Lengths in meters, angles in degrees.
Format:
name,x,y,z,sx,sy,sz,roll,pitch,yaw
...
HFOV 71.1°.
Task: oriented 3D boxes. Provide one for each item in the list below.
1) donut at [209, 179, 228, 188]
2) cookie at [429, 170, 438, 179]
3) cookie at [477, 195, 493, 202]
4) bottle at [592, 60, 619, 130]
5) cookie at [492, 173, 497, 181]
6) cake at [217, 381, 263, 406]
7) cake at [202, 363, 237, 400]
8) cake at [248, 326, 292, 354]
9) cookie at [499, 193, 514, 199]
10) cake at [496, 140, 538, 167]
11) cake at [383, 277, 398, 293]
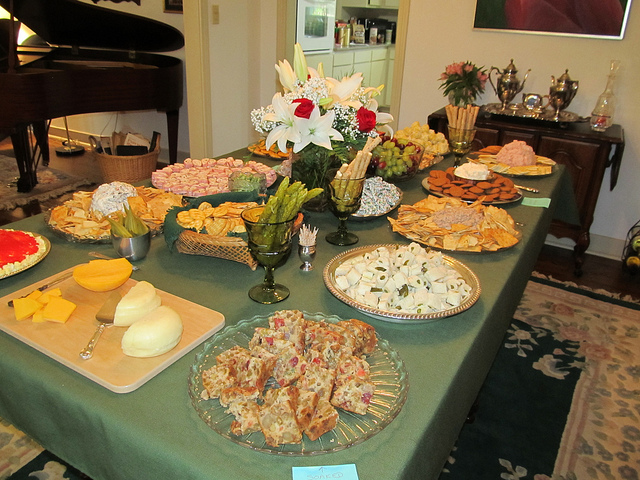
name,x,y,z,sx,sy,sz,roll,pitch,yaw
donut,-0.429,-0.239,1.910,0.056,0.012,0.051,6,18,10
cookie,0.551,-0.317,2.186,0.045,0.013,0.042,6,21,23
cookie,0.742,-0.180,1.994,0.042,0.009,0.039,3,20,15
bottle,2.194,-1.101,3.400,0.149,0.492,0.146,-2,26,1
cookie,0.850,-0.304,2.182,0.033,0.017,0.041,-10,37,29
cake,-0.181,0.348,1.009,0.078,0.042,0.075,13,27,24
cake,-0.232,0.322,1.022,0.074,0.020,0.067,-19,44,-10
cake,-0.125,0.248,1.102,0.073,0.024,0.072,13,30,36
cookie,0.842,-0.196,2.023,0.037,0.007,0.035,-15,25,-36
cake,1.089,-0.470,2.505,0.189,0.072,0.177,2,25,6
cake,0.205,0.137,1.314,0.024,0.038,0.035,-20,33,-37
